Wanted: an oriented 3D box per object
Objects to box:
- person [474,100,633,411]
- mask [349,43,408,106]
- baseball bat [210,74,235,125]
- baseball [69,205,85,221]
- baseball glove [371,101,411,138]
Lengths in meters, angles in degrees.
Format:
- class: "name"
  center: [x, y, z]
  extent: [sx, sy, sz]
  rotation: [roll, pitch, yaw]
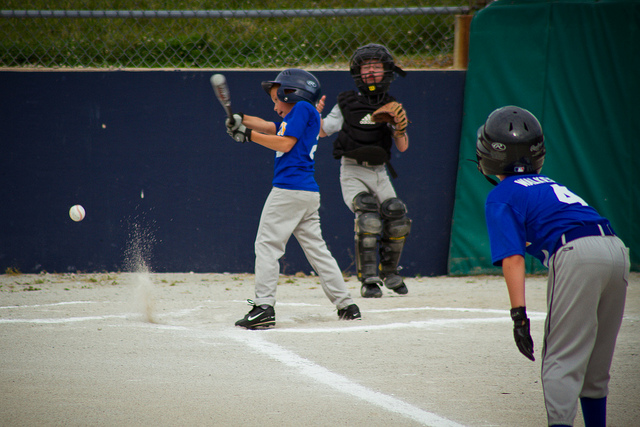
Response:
- class: "person"
  center: [1.906, 0.384, 7.849]
  extent: [1.163, 2.516, 0.650]
  rotation: [-1, 6, 17]
- class: "mask"
  center: [0.648, -1.490, 10.636]
  extent: [0.435, 0.506, 0.512]
  rotation: [-4, 9, 27]
- class: "baseball bat"
  center: [-1.075, -1.248, 10.518]
  extent: [0.155, 0.715, 0.198]
  rotation: [-16, 5, 7]
- class: "baseball"
  center: [-2.897, -0.007, 11.404]
  extent: [0.171, 0.184, 0.086]
  rotation: [-4, 6, -16]
- class: "baseball glove"
  center: [0.749, -1.097, 10.421]
  extent: [0.328, 0.182, 0.389]
  rotation: [18, -12, -16]
